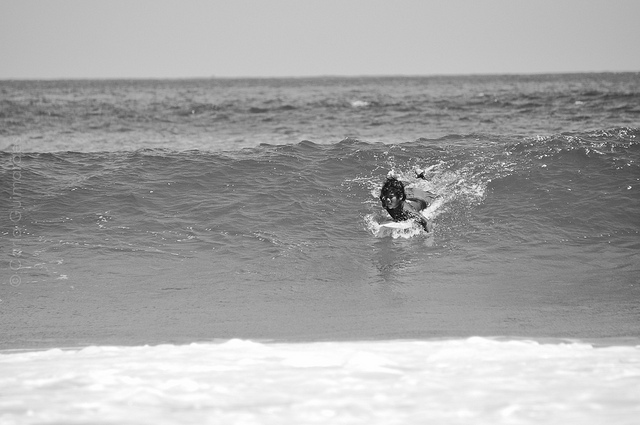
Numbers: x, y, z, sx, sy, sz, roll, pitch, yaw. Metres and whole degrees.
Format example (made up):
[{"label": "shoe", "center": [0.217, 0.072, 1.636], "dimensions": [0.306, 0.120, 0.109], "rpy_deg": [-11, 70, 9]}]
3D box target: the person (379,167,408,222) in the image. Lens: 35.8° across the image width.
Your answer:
[{"label": "person", "center": [1.059, -0.225, 14.223], "dimensions": [0.377, 0.723, 0.441], "rpy_deg": [-2, 2, 5]}]
